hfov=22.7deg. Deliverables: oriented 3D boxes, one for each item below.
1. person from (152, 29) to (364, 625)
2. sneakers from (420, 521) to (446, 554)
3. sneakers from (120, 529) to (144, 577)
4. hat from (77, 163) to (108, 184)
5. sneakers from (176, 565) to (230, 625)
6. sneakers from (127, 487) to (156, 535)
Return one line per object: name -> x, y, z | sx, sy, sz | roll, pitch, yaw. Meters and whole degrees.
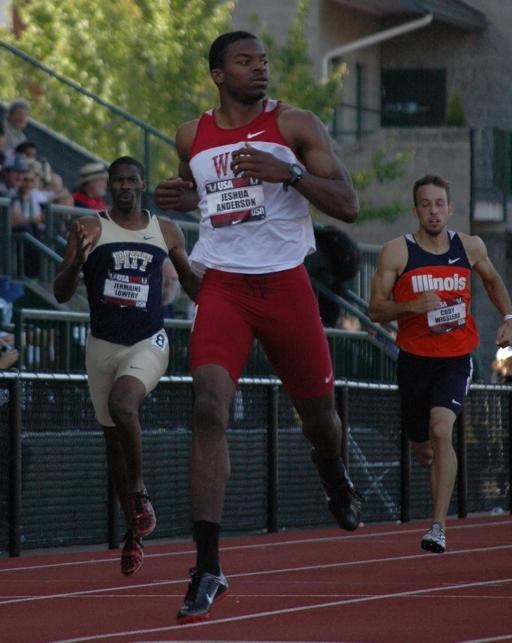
person -> 0.020, -0.086, 4.744 | 0.562, 1.987, 1.543 | 1, 4, 28
sneakers -> 0.829, 1.030, 6.019 | 0.105, 0.135, 0.194 | 0, 4, 12
sneakers -> -0.555, 1.044, 5.773 | 0.083, 0.223, 0.089 | -2, -16, 10
hat -> -1.571, -1.435, 12.307 | 0.289, 0.094, 0.304 | -5, 6, 0
sneakers -> -0.182, 0.903, 4.194 | 0.082, 0.122, 0.248 | 0, 18, 22
sneakers -> -0.517, 0.875, 5.787 | 0.080, 0.240, 0.094 | -12, -17, 12
